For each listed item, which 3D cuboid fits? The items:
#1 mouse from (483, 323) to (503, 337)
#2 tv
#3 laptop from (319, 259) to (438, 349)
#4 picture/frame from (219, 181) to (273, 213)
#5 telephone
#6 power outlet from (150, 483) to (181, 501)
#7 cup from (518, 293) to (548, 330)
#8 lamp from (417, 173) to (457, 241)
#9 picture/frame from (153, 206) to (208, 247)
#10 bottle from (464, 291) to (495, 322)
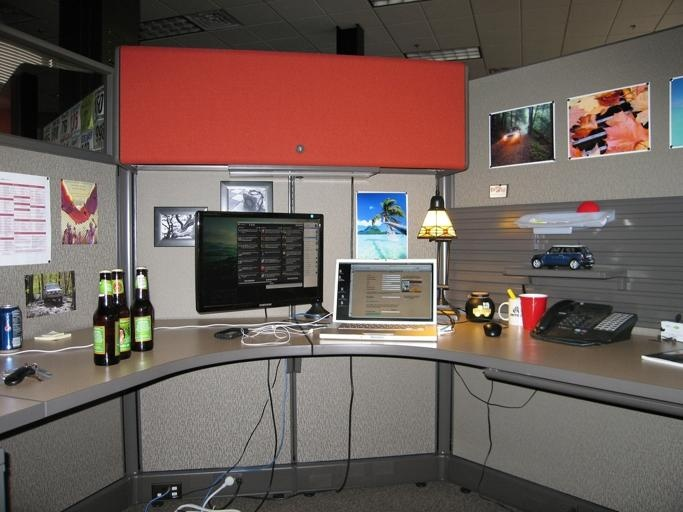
[{"bbox_3d":[0.692,0.328,2.393,0.066,0.048,0.065,-1,6,11],"label":"mouse"},{"bbox_3d":[-0.403,0.015,2.518,0.531,0.366,0.069,0,2,-22],"label":"tv"},{"bbox_3d":[0.211,0.192,2.555,0.507,0.307,0.392,0,-1,5],"label":"laptop"},{"bbox_3d":[-0.505,-0.313,2.743,0.199,0.137,0.026,1,3,-5],"label":"picture/frame"},{"bbox_3d":[1.075,0.294,2.396,0.405,0.119,0.419,-6,6,-12],"label":"telephone"},{"bbox_3d":[-0.902,1.205,2.703,0.097,0.062,0.012,1,-3,1],"label":"power outlet"},{"bbox_3d":[0.905,0.260,2.488,0.159,0.170,0.154,5,-6,1],"label":"cup"},{"bbox_3d":[0.511,-0.242,2.792,0.202,0.342,0.220,1,10,10],"label":"lamp"},{"bbox_3d":[-0.809,-0.143,2.634,0.225,0.178,0.018,0,-1,-9],"label":"picture/frame"},{"bbox_3d":[0.697,0.254,2.696,0.144,0.131,0.140,-1,-6,-1],"label":"bottle"}]
